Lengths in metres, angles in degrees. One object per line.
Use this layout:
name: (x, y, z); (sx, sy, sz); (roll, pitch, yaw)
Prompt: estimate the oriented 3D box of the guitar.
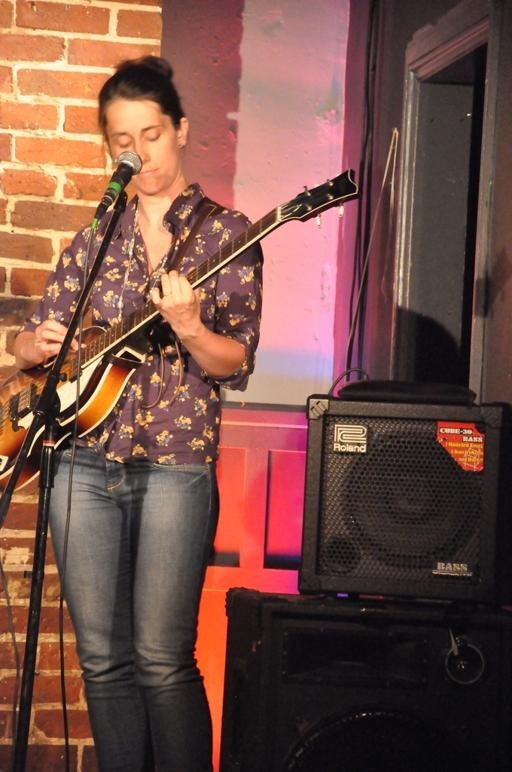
guitar: (-0.218, -0.074, 1.290); (0.697, 0.612, 0.224); (6, 3, 24)
